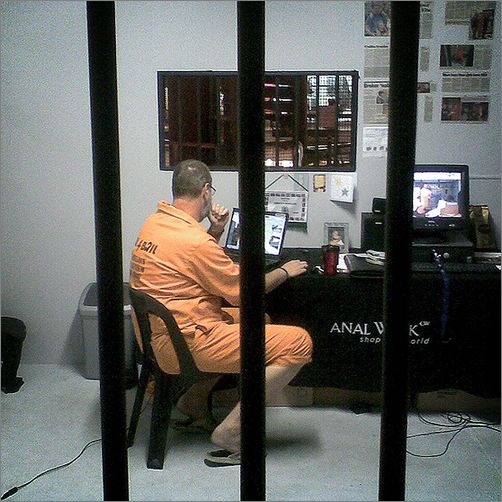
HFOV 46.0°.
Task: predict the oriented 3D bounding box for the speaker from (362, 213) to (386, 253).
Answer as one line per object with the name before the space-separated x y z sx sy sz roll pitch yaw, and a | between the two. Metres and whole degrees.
speaker | 0.689 -0.107 3.358 0.118 0.223 0.323 0 12 8

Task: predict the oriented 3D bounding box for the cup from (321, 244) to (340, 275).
cup | 0.389 0.035 2.882 0.077 0.142 0.124 0 12 7

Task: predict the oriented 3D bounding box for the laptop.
laptop | 0.001 -0.051 3.253 0.388 0.306 0.285 8 18 21

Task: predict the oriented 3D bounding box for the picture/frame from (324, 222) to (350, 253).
picture/frame | 0.490 -0.077 3.363 0.185 0.229 0.023 1 -14 5

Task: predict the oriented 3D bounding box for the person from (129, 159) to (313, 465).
person | -0.069 0.238 2.616 0.711 1.270 0.730 6 14 32

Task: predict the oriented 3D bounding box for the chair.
chair | -0.329 0.531 2.920 0.697 0.994 0.641 -2 0 -18

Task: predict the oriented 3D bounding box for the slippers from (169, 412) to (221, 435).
slippers | -0.263 0.813 2.813 0.240 0.082 0.085 4 -6 5
